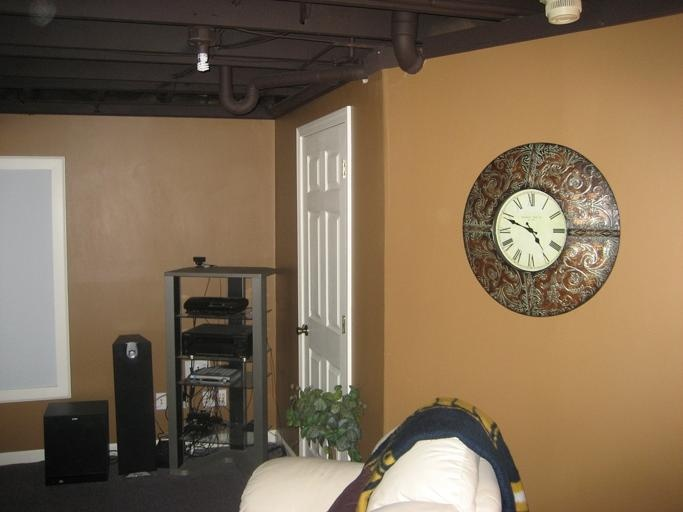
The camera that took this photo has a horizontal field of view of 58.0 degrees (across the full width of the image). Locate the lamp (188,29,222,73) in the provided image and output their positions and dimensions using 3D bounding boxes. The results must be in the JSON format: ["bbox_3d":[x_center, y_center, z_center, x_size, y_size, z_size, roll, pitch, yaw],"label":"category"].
[{"bbox_3d":[-0.826,-1.232,3.773,0.184,0.303,0.212,2,5,13],"label":"lamp"}]

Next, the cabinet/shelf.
[{"bbox_3d":[-0.970,0.875,5.001,0.879,1.636,0.460,-4,-4,7],"label":"cabinet/shelf"}]

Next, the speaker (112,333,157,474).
[{"bbox_3d":[-1.639,1.208,4.921,0.289,1.052,0.112,-2,-4,-11],"label":"speaker"}]

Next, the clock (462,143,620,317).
[{"bbox_3d":[1.147,-0.155,3.436,0.896,1.122,0.141,-2,-1,25],"label":"clock"}]

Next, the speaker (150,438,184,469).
[{"bbox_3d":[-1.419,1.609,5.037,0.243,0.261,0.218,0,-3,38],"label":"speaker"}]

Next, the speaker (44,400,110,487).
[{"bbox_3d":[-2.054,1.489,4.814,0.491,0.634,0.334,1,7,-10],"label":"speaker"}]
